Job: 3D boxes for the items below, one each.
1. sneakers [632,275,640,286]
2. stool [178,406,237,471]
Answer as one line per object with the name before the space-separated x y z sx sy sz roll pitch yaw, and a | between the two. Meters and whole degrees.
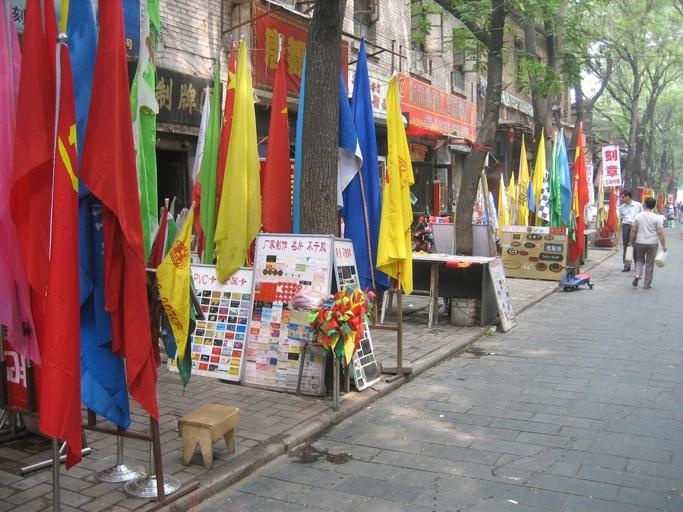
sneakers | 6.923 0.535 15.255 0.129 0.331 0.147 7 -42 11
stool | -1.227 1.668 5.990 0.362 0.425 0.572 2 2 19
